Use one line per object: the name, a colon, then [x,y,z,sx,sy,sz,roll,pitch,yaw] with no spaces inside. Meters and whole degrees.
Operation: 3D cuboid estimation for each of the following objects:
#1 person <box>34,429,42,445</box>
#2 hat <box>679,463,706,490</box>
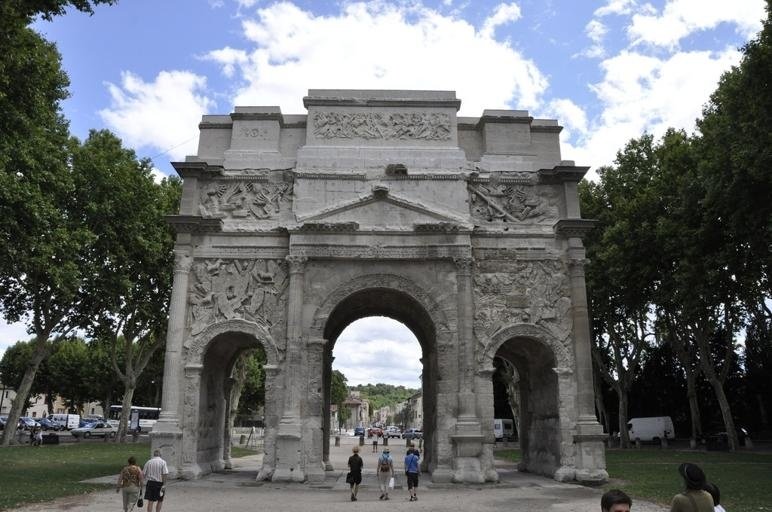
person: [-28.459,14.790,53.442,0.616,1.396,3.212,10,-21,-26]
hat: [9.232,6.600,19.568,0.832,0.814,0.250,0,-28,-28]
